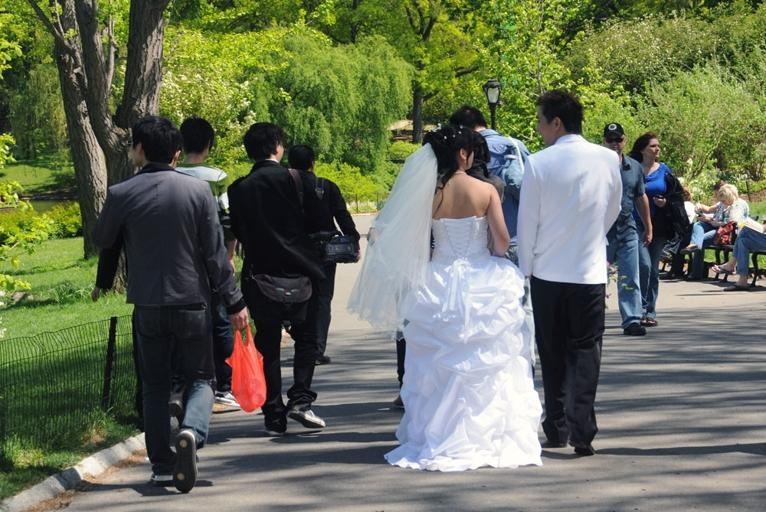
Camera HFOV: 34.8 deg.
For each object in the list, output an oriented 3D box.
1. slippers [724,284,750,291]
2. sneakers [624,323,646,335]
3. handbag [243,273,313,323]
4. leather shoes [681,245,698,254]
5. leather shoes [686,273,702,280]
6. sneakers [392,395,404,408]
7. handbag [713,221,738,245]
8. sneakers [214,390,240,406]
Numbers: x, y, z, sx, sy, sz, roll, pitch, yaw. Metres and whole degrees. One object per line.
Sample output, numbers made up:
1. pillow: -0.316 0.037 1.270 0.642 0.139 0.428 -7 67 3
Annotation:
1. slippers: 7.310 0.664 25.308 0.517 0.143 0.193 1 -3 11
2. sneakers: 4.495 1.309 21.859 0.162 0.185 0.433 3 -9 -22
3. handbag: -1.535 0.606 18.223 0.814 0.677 0.747 3 -9 -17
4. leather shoes: 6.591 -0.150 26.354 0.339 0.128 0.146 -2 44 22
5. leather shoes: 6.851 0.453 26.910 0.375 0.164 0.130 4 2 35
6. sneakers: 0.298 2.270 19.029 0.250 0.179 0.109 2 -7 15
7. handbag: 7.372 -0.483 26.231 0.451 0.457 0.191 12 -2 -2
8. sneakers: -2.444 2.231 19.251 0.556 0.234 0.220 3 -1 -6
